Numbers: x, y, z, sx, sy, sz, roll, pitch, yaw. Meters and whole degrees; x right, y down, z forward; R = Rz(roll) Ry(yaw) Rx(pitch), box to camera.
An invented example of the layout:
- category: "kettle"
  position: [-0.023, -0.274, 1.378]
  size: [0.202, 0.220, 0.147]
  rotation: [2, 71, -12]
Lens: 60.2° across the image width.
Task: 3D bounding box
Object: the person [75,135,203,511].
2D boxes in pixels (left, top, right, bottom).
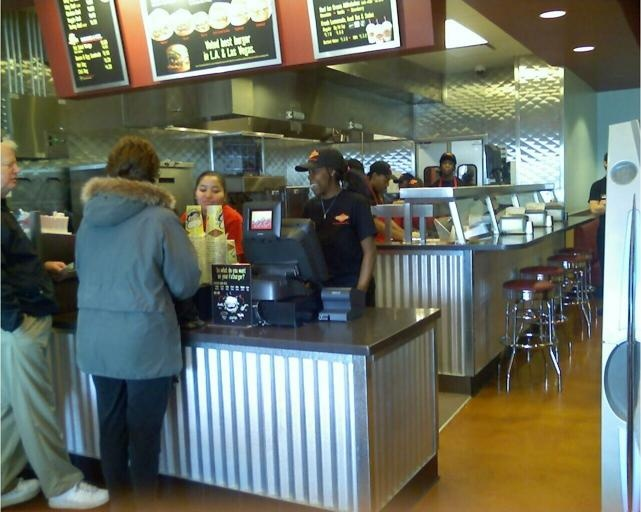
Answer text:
- category: "person"
  position: [-0.883, 0.303, 2.635]
  size: [0.596, 1.709, 0.325]
  rotation: [5, 9, 25]

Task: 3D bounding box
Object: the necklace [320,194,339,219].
- category: "necklace"
  position: [0.054, -0.287, 3.361]
  size: [0.120, 0.129, 0.030]
  rotation: [12, 11, 44]

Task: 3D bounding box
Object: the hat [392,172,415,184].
- category: "hat"
  position: [0.906, -0.863, 6.257]
  size: [0.278, 0.113, 0.210]
  rotation: [-3, 3, 40]

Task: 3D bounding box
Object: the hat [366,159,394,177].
- category: "hat"
  position: [0.508, -0.770, 4.871]
  size: [0.172, 0.108, 0.127]
  rotation: [0, 7, 10]

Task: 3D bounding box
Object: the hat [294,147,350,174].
- category: "hat"
  position: [0.029, -0.556, 3.314]
  size: [0.241, 0.135, 0.154]
  rotation: [1, 6, -8]

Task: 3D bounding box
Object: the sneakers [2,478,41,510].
- category: "sneakers"
  position: [-1.603, 1.285, 2.979]
  size: [0.213, 0.071, 0.082]
  rotation: [-30, -17, -49]

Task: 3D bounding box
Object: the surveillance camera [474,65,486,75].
- category: "surveillance camera"
  position: [2.706, -3.148, 9.415]
  size: [0.111, 0.118, 0.089]
  rotation: [-3, 43, 16]
